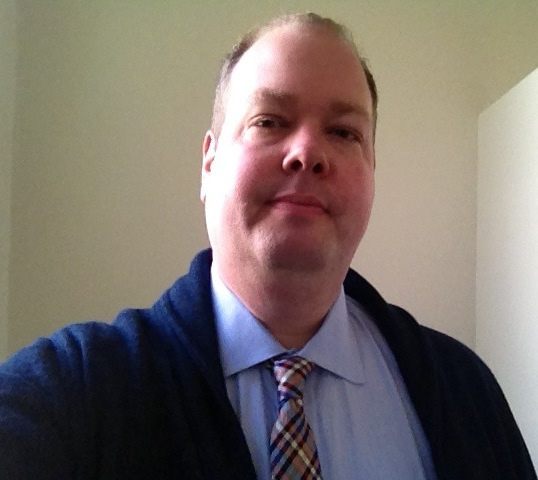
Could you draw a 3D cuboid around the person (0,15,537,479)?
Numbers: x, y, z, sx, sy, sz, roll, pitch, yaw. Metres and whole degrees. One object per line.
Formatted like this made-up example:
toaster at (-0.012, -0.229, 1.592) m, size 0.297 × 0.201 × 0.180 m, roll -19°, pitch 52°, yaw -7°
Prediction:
person at (0.030, -0.006, 1.390) m, size 1.060 × 0.967 × 0.338 m, roll 6°, pitch -7°, yaw -24°
